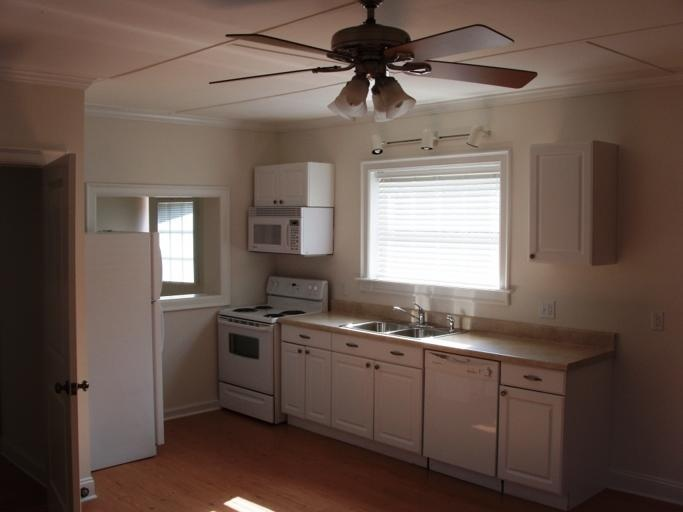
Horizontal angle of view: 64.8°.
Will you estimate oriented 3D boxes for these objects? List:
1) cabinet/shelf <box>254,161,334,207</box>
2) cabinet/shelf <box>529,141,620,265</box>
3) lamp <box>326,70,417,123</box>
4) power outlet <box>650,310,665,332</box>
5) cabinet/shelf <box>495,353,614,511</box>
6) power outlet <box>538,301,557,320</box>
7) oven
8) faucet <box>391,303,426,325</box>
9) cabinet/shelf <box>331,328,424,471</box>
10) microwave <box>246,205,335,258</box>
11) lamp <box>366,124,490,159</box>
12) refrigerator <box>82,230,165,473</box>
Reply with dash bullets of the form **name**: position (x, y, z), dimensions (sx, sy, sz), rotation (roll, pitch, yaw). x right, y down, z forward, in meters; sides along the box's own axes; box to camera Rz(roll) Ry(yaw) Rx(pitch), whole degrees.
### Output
- **cabinet/shelf**: position (-0.514, -0.761, 5.856), dimensions (0.834, 0.450, 0.432), rotation (3, 3, 39)
- **cabinet/shelf**: position (1.764, -0.392, 4.110), dimensions (0.673, 0.905, 0.683), rotation (-3, 7, -13)
- **lamp**: position (0.132, -0.767, 2.625), dimensions (0.270, 0.096, 0.290), rotation (-9, -16, 37)
- **power outlet**: position (2.280, 0.467, 3.889), dimensions (0.086, 0.152, 0.016), rotation (5, 9, 31)
- **cabinet/shelf**: position (1.603, 1.202, 4.223), dimensions (1.082, 1.392, 0.715), rotation (-1, 1, -41)
- **power outlet**: position (1.649, 0.429, 4.314), dimensions (0.020, 0.153, 0.148), rotation (-5, 9, -44)
- **oven**: position (-0.798, 1.078, 5.705), dimensions (0.823, 1.069, 0.754), rotation (4, 4, 35)
- **faucet**: position (0.647, 0.528, 4.968), dimensions (0.332, 0.206, 0.148), rotation (-3, 4, -43)
- **cabinet/shelf**: position (0.129, 1.181, 4.584), dimensions (0.994, 0.894, 0.539), rotation (22, -36, -30)
- **microwave**: position (-0.474, -0.274, 5.733), dimensions (0.525, 0.509, 0.842), rotation (1, 0, -44)
- **lamp**: position (0.759, -1.037, 4.868), dimensions (1.173, 0.212, 0.170), rotation (7, 10, 39)
- **refrigerator**: position (-1.800, 0.765, 4.516), dimensions (0.626, 1.917, 0.327), rotation (-3, 8, -24)
